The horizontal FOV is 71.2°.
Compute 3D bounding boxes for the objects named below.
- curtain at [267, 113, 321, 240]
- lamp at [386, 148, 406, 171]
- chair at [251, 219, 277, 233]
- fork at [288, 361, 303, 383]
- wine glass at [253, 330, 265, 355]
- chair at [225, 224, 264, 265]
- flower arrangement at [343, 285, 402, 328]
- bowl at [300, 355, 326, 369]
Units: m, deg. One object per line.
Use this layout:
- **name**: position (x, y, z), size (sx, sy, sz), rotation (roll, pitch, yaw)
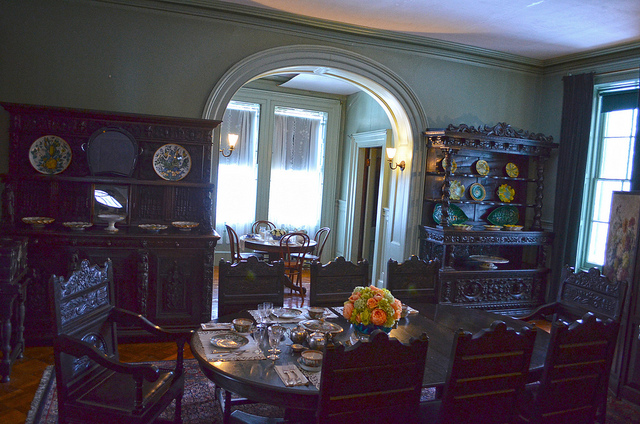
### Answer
- **curtain**: position (-0.515, -0.731, 9.105), size (1.040, 2.502, 0.270), rotation (1, 6, -8)
- **lamp**: position (1.155, -0.824, 6.893), size (0.208, 0.353, 0.421), rotation (1, 6, -11)
- **chair**: position (-1.092, 0.248, 8.467), size (0.329, 0.425, 0.294), rotation (1, -2, -28)
- **fork**: position (-0.173, 1.133, 3.218), size (0.038, 0.033, 0.318), rotation (0, 11, -13)
- **wine glass**: position (-0.478, 0.989, 3.470), size (0.073, 0.172, 0.168), rotation (1, 6, -6)
- **chair**: position (-1.221, 0.664, 7.322), size (0.611, 0.868, 0.500), rotation (0, 5, 3)
- **flower arrangement**: position (0.416, 0.776, 3.757), size (0.562, 0.310, 0.532), rotation (17, -14, -42)
- **bowl**: position (-0.064, 1.095, 3.249), size (0.196, 0.063, 0.197), rotation (2, -4, 0)
